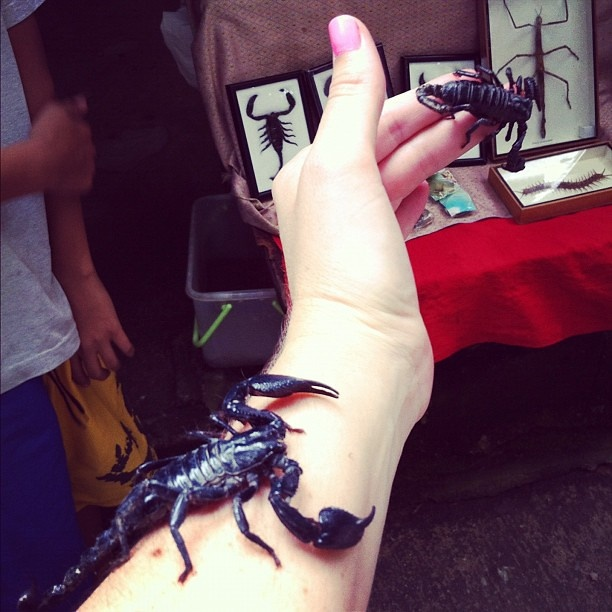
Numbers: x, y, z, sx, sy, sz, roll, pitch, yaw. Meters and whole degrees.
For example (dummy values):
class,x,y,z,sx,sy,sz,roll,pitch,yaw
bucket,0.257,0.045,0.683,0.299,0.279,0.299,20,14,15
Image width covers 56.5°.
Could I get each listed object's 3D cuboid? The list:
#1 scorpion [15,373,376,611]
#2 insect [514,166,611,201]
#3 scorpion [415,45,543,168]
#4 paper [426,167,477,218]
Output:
class,x,y,z,sx,sy,sz,roll,pitch,yaw
scorpion,-0.177,0.358,0.991,0.594,0.128,0.343,-21,44,1
insect,0.927,-0.432,2.025,0.369,0.060,0.106,-10,34,10
scorpion,0.477,-0.537,1.611,0.343,0.094,0.318,18,65,8
paper,0.534,-0.408,2.082,0.127,0.041,0.205,-26,65,-15
